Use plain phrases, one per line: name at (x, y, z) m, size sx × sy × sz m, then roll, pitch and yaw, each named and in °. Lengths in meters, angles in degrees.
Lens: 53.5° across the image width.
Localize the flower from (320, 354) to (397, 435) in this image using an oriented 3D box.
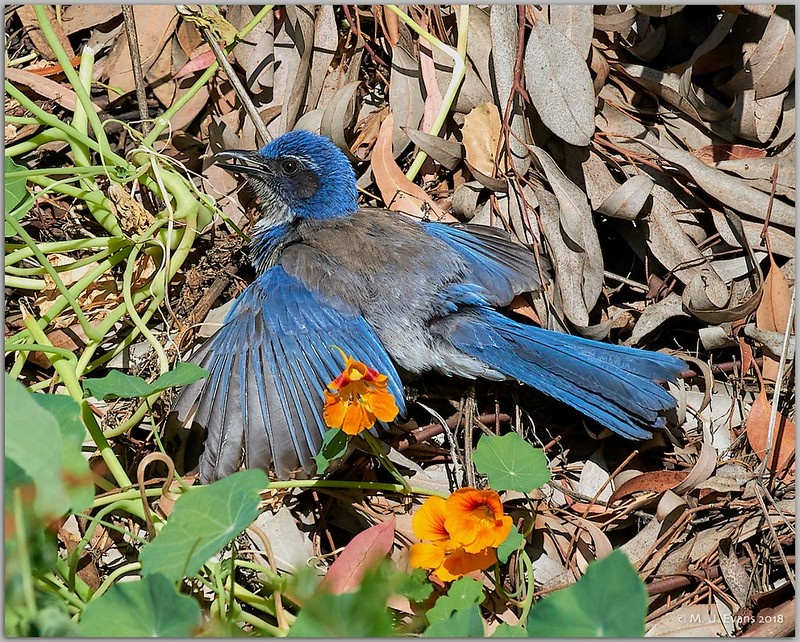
flower at (-0.134, 0.284, 2.863) m, size 0.251 × 0.250 × 0.333 m, roll 8°, pitch 17°, yaw 12°

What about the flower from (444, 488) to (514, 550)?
flower at (0.299, 0.691, 2.838) m, size 0.228 × 0.108 × 0.268 m, roll -15°, pitch 18°, yaw 6°
